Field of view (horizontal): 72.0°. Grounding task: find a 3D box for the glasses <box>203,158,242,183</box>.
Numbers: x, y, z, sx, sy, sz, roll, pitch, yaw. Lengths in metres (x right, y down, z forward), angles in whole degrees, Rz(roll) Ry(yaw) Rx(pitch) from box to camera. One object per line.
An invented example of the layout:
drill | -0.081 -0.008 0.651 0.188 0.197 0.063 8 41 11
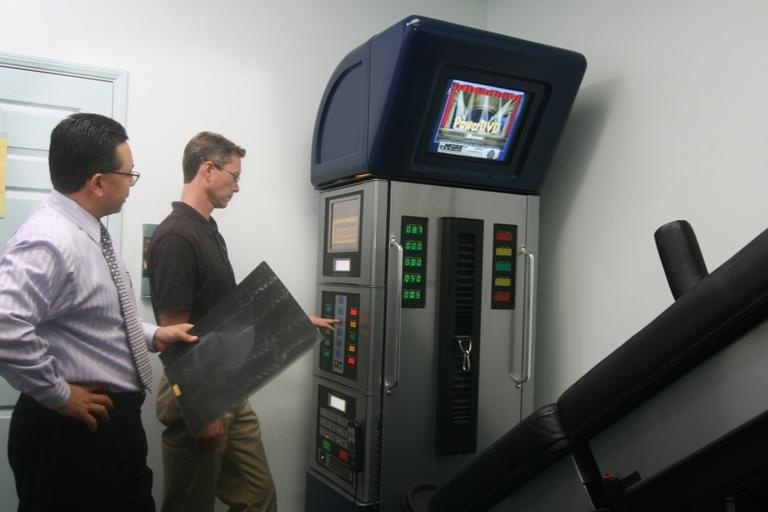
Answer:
glasses | -0.862 -0.460 2.848 0.122 0.038 0.127 28 -6 -33
